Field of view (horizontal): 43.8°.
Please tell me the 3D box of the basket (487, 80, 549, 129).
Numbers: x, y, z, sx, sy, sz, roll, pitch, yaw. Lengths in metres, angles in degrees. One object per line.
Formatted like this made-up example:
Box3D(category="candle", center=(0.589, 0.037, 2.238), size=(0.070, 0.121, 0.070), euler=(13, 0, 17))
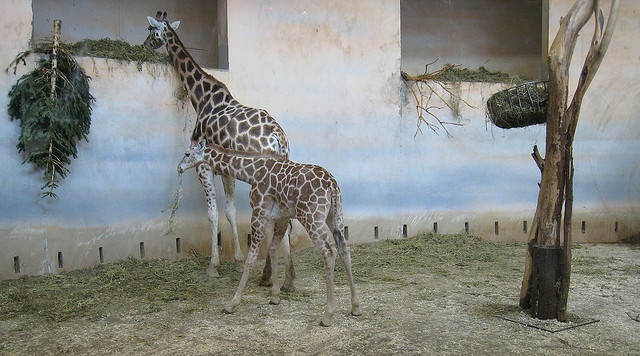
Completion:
Box3D(category="basket", center=(4.077, -1.488, 16.355), size=(0.737, 0.786, 1.704), euler=(-1, -2, -23))
